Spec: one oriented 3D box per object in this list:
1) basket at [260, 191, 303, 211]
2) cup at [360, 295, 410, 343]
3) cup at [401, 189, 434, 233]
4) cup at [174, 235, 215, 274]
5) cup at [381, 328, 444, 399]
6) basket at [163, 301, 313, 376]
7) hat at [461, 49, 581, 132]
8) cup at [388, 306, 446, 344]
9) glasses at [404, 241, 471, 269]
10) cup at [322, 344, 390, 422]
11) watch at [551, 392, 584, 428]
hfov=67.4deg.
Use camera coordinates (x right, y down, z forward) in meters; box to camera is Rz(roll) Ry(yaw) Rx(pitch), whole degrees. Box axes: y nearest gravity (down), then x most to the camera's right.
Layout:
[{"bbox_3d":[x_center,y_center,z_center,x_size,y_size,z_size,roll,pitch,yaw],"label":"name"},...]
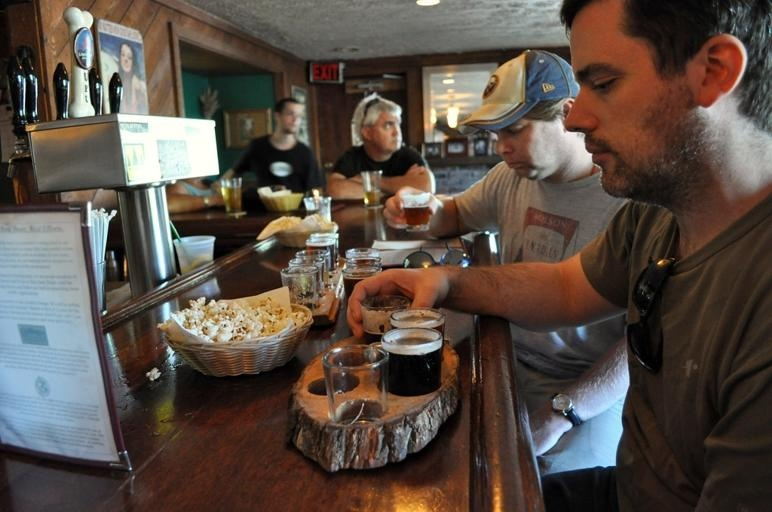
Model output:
[{"bbox_3d":[-0.681,-0.352,3.872,0.227,0.118,0.293,-11,19,-33],"label":"basket"},{"bbox_3d":[-0.005,0.173,1.618,0.125,0.088,0.123,0,5,0],"label":"cup"},{"bbox_3d":[0.110,-0.216,2.724,0.176,0.189,0.176,-2,6,0],"label":"cup"},{"bbox_3d":[-0.884,-0.025,2.700,0.199,0.203,0.196,0,16,0],"label":"cup"},{"bbox_3d":[0.057,0.242,1.331,0.150,0.115,0.134,0,9,0],"label":"cup"},{"bbox_3d":[-0.383,0.235,1.470,0.219,0.068,0.229,1,11,20],"label":"basket"},{"bbox_3d":[0.542,-0.658,2.305,0.419,0.219,0.287,-14,15,-7],"label":"hat"},{"bbox_3d":[0.079,0.167,1.469,0.082,0.090,0.091,-3,23,5],"label":"cup"},{"bbox_3d":[0.199,0.000,2.199,0.197,0.087,0.111,-3,0,-4],"label":"glasses"},{"bbox_3d":[-0.066,0.277,1.284,0.144,0.124,0.153,0,16,0],"label":"cup"},{"bbox_3d":[0.624,0.528,1.979,0.055,0.085,0.088,-42,37,2],"label":"watch"}]
